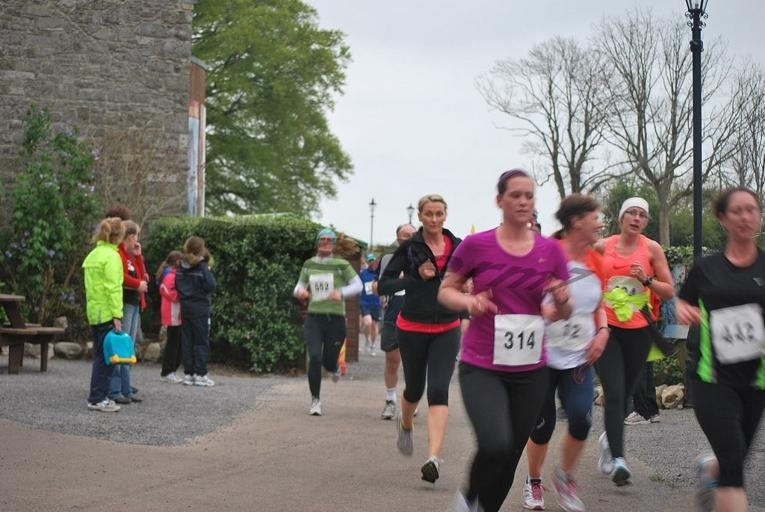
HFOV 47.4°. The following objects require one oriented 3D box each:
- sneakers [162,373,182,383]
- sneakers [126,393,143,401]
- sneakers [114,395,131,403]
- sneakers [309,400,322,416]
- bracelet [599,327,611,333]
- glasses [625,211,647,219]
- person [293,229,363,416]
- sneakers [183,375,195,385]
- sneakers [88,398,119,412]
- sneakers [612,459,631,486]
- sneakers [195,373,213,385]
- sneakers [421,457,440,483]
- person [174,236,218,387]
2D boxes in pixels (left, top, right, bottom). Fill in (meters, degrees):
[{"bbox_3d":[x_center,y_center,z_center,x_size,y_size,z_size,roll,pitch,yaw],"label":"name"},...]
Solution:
[{"bbox_3d":[-3.741,2.153,15.447,0.348,0.162,0.143,0,-2,32],"label":"sneakers"},{"bbox_3d":[-3.794,2.143,13.255,0.269,0.113,0.094,6,12,-16],"label":"sneakers"},{"bbox_3d":[-3.886,2.124,13.009,0.246,0.107,0.092,1,0,12],"label":"sneakers"},{"bbox_3d":[-1.001,2.235,12.997,0.107,0.137,0.304,1,9,-2],"label":"sneakers"},{"bbox_3d":[2.380,0.779,9.320,0.113,0.030,0.121,0,-2,-21],"label":"bracelet"},{"bbox_3d":[3.031,-0.496,10.357,0.115,0.038,0.123,7,-26,2],"label":"glasses"},{"bbox_3d":[-0.837,0.958,12.955,0.933,2.768,0.807,0,-4,-7],"label":"person"},{"bbox_3d":[-3.399,2.145,15.195,0.106,0.148,0.208,3,3,-8],"label":"sneakers"},{"bbox_3d":[-3.957,2.088,12.424,0.461,0.228,0.184,1,-1,4],"label":"sneakers"},{"bbox_3d":[2.670,2.389,9.705,0.152,0.192,0.438,-1,1,13],"label":"sneakers"},{"bbox_3d":[-3.150,2.160,15.258,0.371,0.246,0.138,1,-1,-16],"label":"sneakers"},{"bbox_3d":[0.536,2.420,9.772,0.149,0.153,0.335,19,-43,12],"label":"sneakers"},{"bbox_3d":[-3.314,0.948,15.312,0.643,2.559,0.382,1,-4,-15],"label":"person"}]
